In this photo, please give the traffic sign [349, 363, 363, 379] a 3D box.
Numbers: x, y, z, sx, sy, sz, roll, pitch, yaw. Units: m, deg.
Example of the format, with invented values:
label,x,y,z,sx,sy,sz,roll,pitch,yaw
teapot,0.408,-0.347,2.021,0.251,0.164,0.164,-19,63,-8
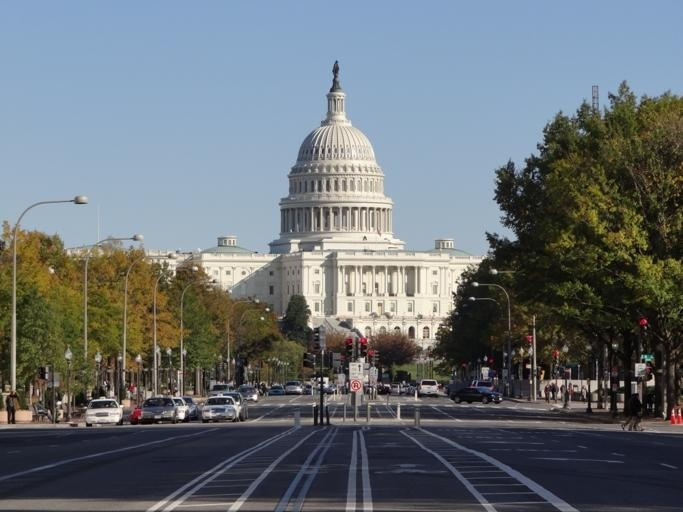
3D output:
label,x,y,z,sx,sy,sz,roll,pitch,yaw
traffic sign,0.754,6.302,77.827,0.440,0.898,0.858,-6,-7,41
